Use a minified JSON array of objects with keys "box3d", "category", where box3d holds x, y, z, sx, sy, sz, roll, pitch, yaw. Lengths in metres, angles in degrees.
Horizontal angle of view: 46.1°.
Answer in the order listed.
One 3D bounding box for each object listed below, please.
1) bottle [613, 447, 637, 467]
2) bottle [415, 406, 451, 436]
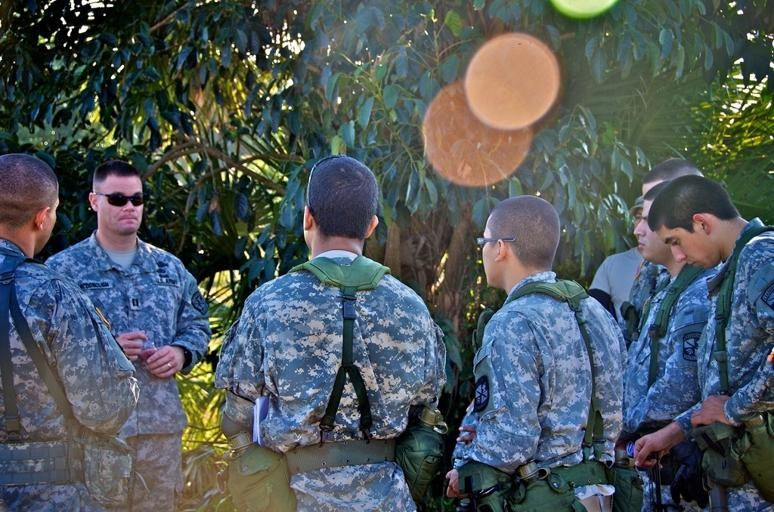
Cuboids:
[{"box3d":[1.569,1.344,6.102,0.115,0.055,0.145,5,-4,-12],"category":"bottle"},{"box3d":[0.275,1.014,5.646,0.189,0.203,0.146,2,21,2],"category":"bottle"}]
